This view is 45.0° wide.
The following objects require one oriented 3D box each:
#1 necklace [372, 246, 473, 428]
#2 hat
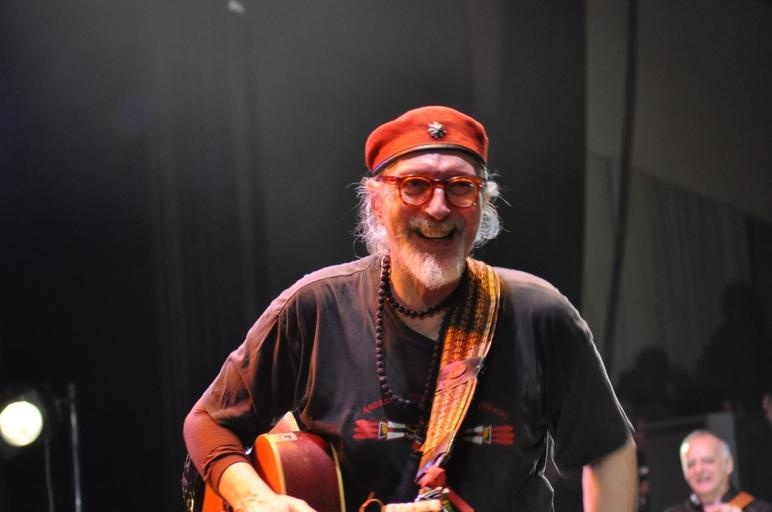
[{"bbox_3d":[0.164,0.369,3.946,0.342,0.769,0.126,0,0,14],"label":"necklace"},{"bbox_3d":[0.223,-0.467,4.252,0.589,0.289,0.761,-1,-10,2],"label":"hat"}]
